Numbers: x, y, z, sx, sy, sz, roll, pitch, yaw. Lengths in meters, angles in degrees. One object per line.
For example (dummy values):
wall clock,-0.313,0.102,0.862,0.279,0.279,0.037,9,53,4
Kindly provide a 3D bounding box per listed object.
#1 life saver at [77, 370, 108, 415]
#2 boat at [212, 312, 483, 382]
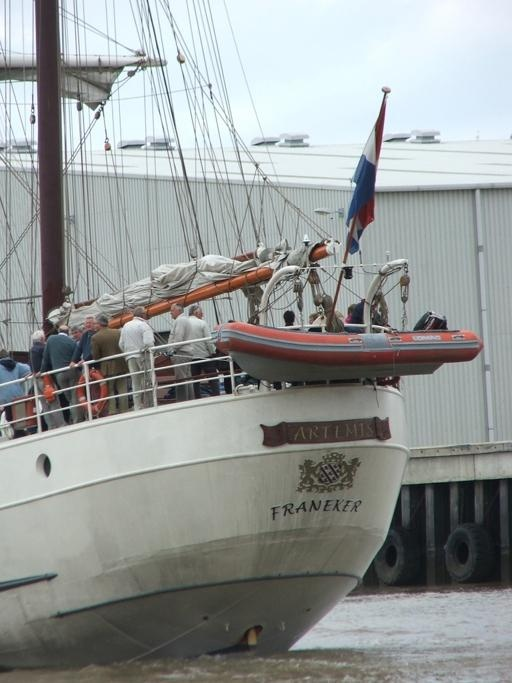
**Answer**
life saver,-2.106,0.679,23.294,0.152,0.586,0.418,10,-27,-41
boat,1.025,0.198,21.993,2.441,0.812,1.295,-1,-9,-15
